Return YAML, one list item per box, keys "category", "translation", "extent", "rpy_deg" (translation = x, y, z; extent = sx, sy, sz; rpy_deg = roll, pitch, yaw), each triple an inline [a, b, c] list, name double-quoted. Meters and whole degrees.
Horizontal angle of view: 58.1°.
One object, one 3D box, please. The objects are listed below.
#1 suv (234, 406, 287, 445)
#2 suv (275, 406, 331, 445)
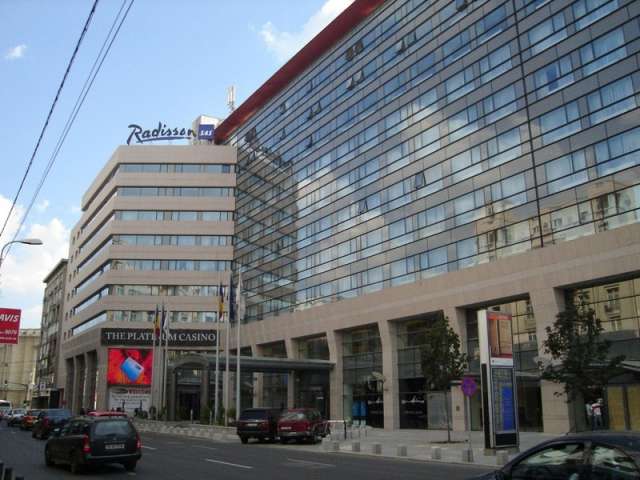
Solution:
- category: "suv"
  translation: [-3.494, 10.625, 33.229]
  extent: [1.753, 1.132, 3.053]
  rpy_deg: [-4, -9, 16]
- category: "suv"
  translation: [-1.029, 10.685, 33.087]
  extent: [1.788, 1.891, 2.896]
  rpy_deg: [-9, -20, 18]
